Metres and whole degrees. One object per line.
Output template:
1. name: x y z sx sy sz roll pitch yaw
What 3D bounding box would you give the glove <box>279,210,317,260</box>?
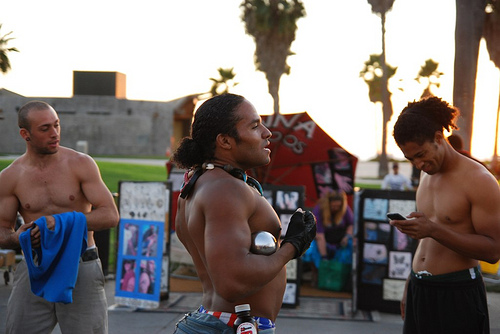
1. glove: 0.486 0.663 8.451 0.369 0.456 0.189 15 -16 31

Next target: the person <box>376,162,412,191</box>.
1. person: 5.240 0.341 31.192 1.301 1.589 0.580 2 -15 5

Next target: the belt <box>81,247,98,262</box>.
1. belt: -1.862 1.018 9.722 0.129 0.094 0.128 -2 1 23

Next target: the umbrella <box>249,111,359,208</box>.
1. umbrella: 1.062 0.141 16.165 1.963 1.966 1.323 -11 21 30
